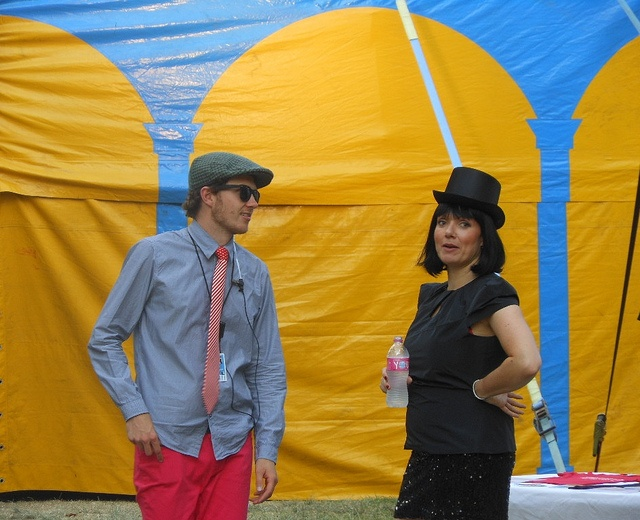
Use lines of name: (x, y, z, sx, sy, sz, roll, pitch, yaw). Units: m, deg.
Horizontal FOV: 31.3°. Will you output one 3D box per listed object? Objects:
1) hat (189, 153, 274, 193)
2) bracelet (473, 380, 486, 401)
hat: (-0.524, -0.499, 6.576, 0.478, 0.140, 0.281, -8, -14, 18)
bracelet: (0.847, 0.716, 6.171, 0.038, 0.089, 0.122, -4, 1, 27)
